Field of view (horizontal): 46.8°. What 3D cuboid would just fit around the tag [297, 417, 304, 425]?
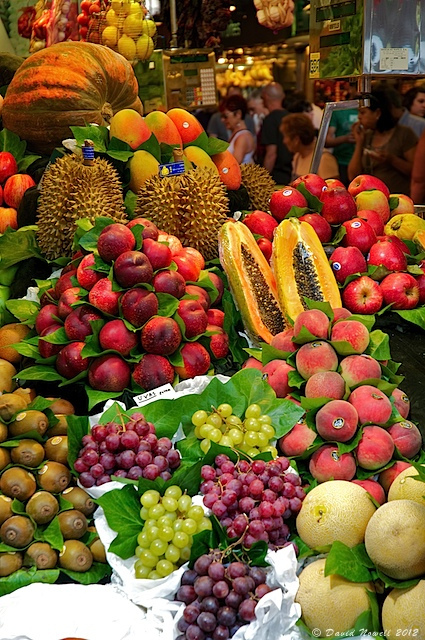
[{"bbox_3d":[0.216,0.248,1.192,0.012,0.004,0.015,18,45,16],"label":"tag"}]

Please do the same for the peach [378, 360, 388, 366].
[{"bbox_3d":[0.472,0.120,1.359,0.021,0.014,0.025,5,4,-22],"label":"peach"}]

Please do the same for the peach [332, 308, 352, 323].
[{"bbox_3d":[0.375,-0.013,1.431,0.040,0.046,0.039,1,20,-2],"label":"peach"}]

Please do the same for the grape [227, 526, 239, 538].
[{"bbox_3d":[0.040,0.403,0.921,0.017,0.020,0.017,-1,7,1],"label":"grape"}]

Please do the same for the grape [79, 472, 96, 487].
[{"bbox_3d":[-0.274,0.353,1.074,0.034,0.038,0.031,2,7,8],"label":"grape"}]

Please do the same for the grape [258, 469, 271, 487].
[{"bbox_3d":[0.107,0.326,1.000,0.023,0.023,0.030,0,5,1],"label":"grape"}]

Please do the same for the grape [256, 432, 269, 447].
[{"bbox_3d":[0.115,0.273,1.105,0.030,0.035,0.029,-3,41,-8],"label":"grape"}]

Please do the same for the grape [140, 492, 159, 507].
[{"bbox_3d":[-0.127,0.368,0.989,0.035,0.028,0.019,-2,19,5],"label":"grape"}]

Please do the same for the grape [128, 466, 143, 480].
[{"bbox_3d":[-0.165,0.335,1.067,0.030,0.034,0.029,-1,-21,-5],"label":"grape"}]

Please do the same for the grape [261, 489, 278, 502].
[{"bbox_3d":[0.112,0.350,0.966,0.030,0.022,0.032,-3,19,2],"label":"grape"}]

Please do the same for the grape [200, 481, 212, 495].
[{"bbox_3d":[-0.015,0.353,1.022,0.026,0.030,0.026,1,-18,-3],"label":"grape"}]

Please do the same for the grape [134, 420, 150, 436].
[{"bbox_3d":[-0.159,0.243,1.127,0.029,0.030,0.034,-23,34,0],"label":"grape"}]

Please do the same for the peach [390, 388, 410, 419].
[{"bbox_3d":[0.502,0.220,1.308,0.046,0.078,0.112,5,20,23],"label":"peach"}]

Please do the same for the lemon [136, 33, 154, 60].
[{"bbox_3d":[-0.346,-1.408,2.536,0.067,0.083,0.070,-6,8,-19],"label":"lemon"}]

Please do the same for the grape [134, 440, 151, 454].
[{"bbox_3d":[-0.151,0.279,1.072,0.027,0.026,0.031,21,59,3],"label":"grape"}]

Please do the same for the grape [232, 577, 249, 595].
[{"bbox_3d":[0.048,0.448,0.826,0.030,0.021,0.022,23,-27,-6],"label":"grape"}]

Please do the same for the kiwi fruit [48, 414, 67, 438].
[{"bbox_3d":[-0.401,0.271,1.277,0.046,0.042,0.087,-7,19,-10],"label":"kiwi fruit"}]

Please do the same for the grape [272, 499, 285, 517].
[{"bbox_3d":[0.127,0.365,0.948,0.027,0.031,0.026,1,1,3],"label":"grape"}]

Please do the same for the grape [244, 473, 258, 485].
[{"bbox_3d":[0.079,0.326,1.001,0.020,0.023,0.019,18,-8,0],"label":"grape"}]

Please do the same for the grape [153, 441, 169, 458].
[{"bbox_3d":[-0.113,0.291,1.091,0.028,0.028,0.032,-28,33,30],"label":"grape"}]

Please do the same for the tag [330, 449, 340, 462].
[{"bbox_3d":[0.280,0.312,1.112,0.019,0.018,0.005,-3,-11,-25],"label":"tag"}]

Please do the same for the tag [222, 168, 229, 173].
[{"bbox_3d":[0.055,-0.631,2.065,0.026,0.018,0.008,-10,20,-20],"label":"tag"}]

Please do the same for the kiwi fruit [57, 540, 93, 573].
[{"bbox_3d":[-0.285,0.508,1.055,0.073,0.053,0.056,30,35,-36],"label":"kiwi fruit"}]

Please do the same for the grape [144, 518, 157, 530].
[{"bbox_3d":[-0.119,0.397,0.956,0.020,0.020,0.023,3,5,2],"label":"grape"}]

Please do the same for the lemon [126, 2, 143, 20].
[{"bbox_3d":[-0.381,-1.521,2.405,0.071,0.064,0.069,-1,32,-2],"label":"lemon"}]

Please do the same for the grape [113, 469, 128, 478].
[{"bbox_3d":[-0.201,0.341,1.079,0.022,0.012,0.012,-6,-4,-4],"label":"grape"}]

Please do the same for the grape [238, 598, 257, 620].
[{"bbox_3d":[0.058,0.481,0.812,0.032,0.024,0.024,-21,15,-10],"label":"grape"}]

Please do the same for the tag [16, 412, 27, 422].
[{"bbox_3d":[-0.466,0.236,1.180,0.018,0.004,0.017,-16,47,-3],"label":"tag"}]

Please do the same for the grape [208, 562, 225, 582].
[{"bbox_3d":[0.008,0.432,0.841,0.026,0.030,0.026,1,2,4],"label":"grape"}]

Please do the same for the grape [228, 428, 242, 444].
[{"bbox_3d":[0.052,0.262,1.104,0.029,0.033,0.029,-2,36,-2],"label":"grape"}]

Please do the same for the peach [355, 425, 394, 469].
[{"bbox_3d":[0.381,0.304,1.161,0.104,0.098,0.094,9,46,24],"label":"peach"}]

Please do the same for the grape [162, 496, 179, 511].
[{"bbox_3d":[-0.083,0.369,0.975,0.032,0.023,0.027,-5,19,-4],"label":"grape"}]

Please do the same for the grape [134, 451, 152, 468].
[{"bbox_3d":[-0.148,0.300,1.051,0.035,0.034,0.033,2,2,24],"label":"grape"}]

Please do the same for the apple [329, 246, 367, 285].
[{"bbox_3d":[0.434,-0.203,1.678,0.122,0.139,0.121,-29,14,1],"label":"apple"}]

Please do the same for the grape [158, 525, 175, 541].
[{"bbox_3d":[-0.087,0.403,0.919,0.027,0.029,0.026,9,10,-34],"label":"grape"}]

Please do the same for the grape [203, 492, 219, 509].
[{"bbox_3d":[-0.004,0.357,0.969,0.028,0.032,0.027,12,20,3],"label":"grape"}]

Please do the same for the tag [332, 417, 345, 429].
[{"bbox_3d":[0.287,0.237,1.117,0.026,0.024,0.011,1,20,12],"label":"tag"}]

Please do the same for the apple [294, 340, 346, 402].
[{"bbox_3d":[0.279,0.141,1.254,0.106,0.089,0.196,-9,43,4],"label":"apple"}]

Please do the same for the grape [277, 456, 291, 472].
[{"bbox_3d":[0.161,0.320,1.077,0.029,0.029,0.033,3,-13,-10],"label":"grape"}]

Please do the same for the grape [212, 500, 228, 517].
[{"bbox_3d":[0.013,0.368,0.952,0.025,0.025,0.029,4,20,21],"label":"grape"}]

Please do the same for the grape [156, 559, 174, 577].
[{"bbox_3d":[-0.089,0.469,0.922,0.027,0.031,0.028,7,20,3],"label":"grape"}]

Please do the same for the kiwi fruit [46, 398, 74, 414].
[{"bbox_3d":[-0.415,0.239,1.354,0.050,0.059,0.059,-5,19,-5],"label":"kiwi fruit"}]

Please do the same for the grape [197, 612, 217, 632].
[{"bbox_3d":[-0.009,0.503,0.809,0.019,0.017,0.022,-39,16,-15],"label":"grape"}]

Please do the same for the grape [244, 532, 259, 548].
[{"bbox_3d":[0.070,0.407,0.909,0.026,0.030,0.025,1,8,-1],"label":"grape"}]

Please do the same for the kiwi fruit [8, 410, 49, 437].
[{"bbox_3d":[-0.439,0.251,1.176,0.073,0.054,0.053,-3,-5,1],"label":"kiwi fruit"}]

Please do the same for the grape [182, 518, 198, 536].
[{"bbox_3d":[-0.042,0.393,0.925,0.028,0.031,0.028,5,-17,-5],"label":"grape"}]

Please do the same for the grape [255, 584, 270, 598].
[{"bbox_3d":[0.085,0.469,0.844,0.015,0.017,0.014,24,1,0],"label":"grape"}]

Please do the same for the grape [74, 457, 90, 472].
[{"bbox_3d":[-0.293,0.327,1.087,0.033,0.038,0.032,2,16,10],"label":"grape"}]

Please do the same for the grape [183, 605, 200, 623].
[{"bbox_3d":[-0.034,0.499,0.826,0.022,0.022,0.026,-36,1,-5],"label":"grape"}]

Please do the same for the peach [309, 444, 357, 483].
[{"bbox_3d":[0.272,0.331,1.117,0.094,0.092,0.089,5,7,9],"label":"peach"}]

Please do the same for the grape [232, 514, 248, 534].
[{"bbox_3d":[0.052,0.387,0.918,0.027,0.028,0.029,-8,19,-13],"label":"grape"}]
